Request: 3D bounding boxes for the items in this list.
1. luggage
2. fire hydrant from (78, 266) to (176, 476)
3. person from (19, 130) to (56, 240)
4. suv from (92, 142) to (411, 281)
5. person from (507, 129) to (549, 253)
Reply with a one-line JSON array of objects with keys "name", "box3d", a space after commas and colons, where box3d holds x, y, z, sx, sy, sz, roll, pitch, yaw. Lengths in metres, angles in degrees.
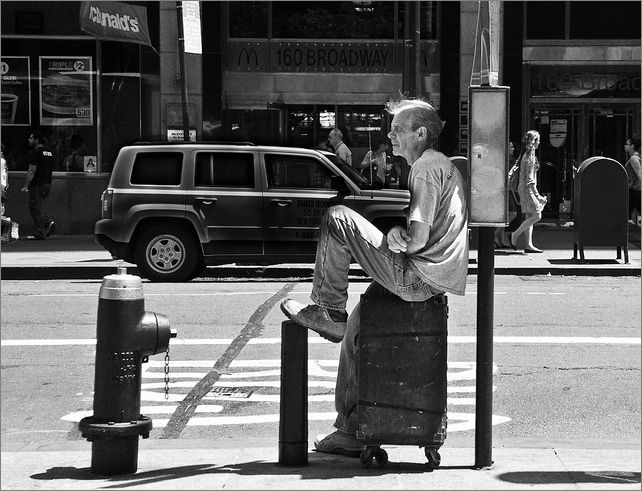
[{"name": "luggage", "box3d": [0.620, 1.067, 8.877, 0.682, 1.360, 0.196, 0, 7, 1]}, {"name": "fire hydrant", "box3d": [-1.489, 0.948, 8.977, 0.674, 1.555, 0.745, 0, 4, -6]}, {"name": "person", "box3d": [-5.573, -1.152, 22.338, 0.768, 2.002, 0.694, 0, 1, 1]}, {"name": "suv", "box3d": [-1.070, -0.634, 17.601, 4.284, 1.824, 2.083, -1, 2, -3]}, {"name": "person", "box3d": [3.505, -0.989, 19.602, 0.829, 2.633, 1.002, 4, 12, 4]}]
